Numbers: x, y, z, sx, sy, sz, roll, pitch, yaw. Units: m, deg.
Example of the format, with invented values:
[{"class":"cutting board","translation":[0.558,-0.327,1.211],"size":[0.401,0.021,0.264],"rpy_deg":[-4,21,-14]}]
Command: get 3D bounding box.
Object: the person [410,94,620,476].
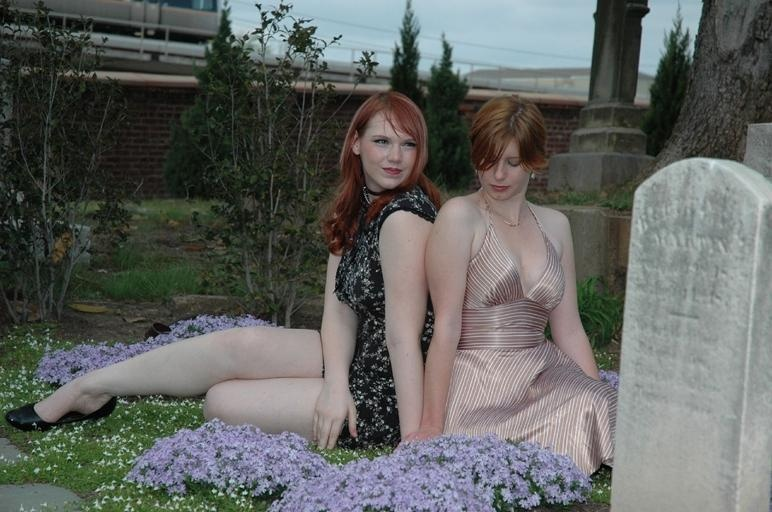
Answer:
[{"class":"person","translation":[0.794,0.123,5.006],"size":[1.107,2.159,0.701],"rpy_deg":[3,9,2]}]
